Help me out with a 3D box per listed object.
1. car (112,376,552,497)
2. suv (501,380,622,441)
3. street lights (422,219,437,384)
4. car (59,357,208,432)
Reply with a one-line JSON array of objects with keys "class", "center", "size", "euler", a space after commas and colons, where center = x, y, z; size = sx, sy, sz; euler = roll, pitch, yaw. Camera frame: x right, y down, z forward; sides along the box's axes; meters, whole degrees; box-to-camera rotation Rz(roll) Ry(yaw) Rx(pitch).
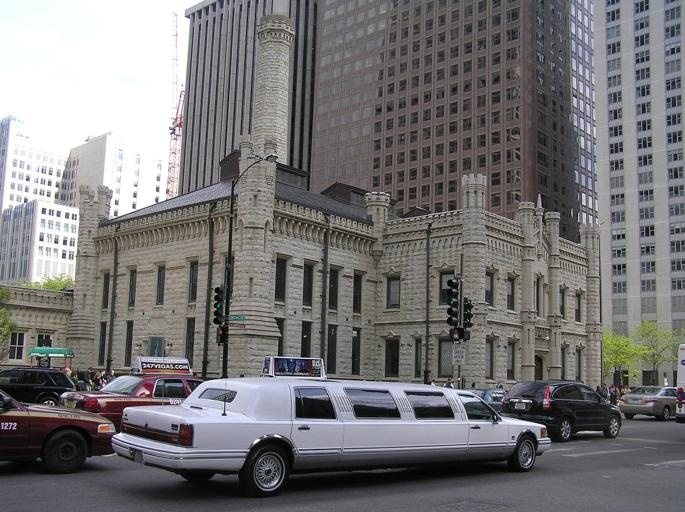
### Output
[{"class": "car", "center": [0.230, 5.294, 22.781], "size": [10.569, 1.914, 3.920], "euler": [4, -9, -31]}, {"class": "suv", "center": [8.875, 6.092, 31.870], "size": [6.151, 2.230, 2.687], "euler": [4, -8, -37]}, {"class": "street lights", "center": [5.031, 2.637, 47.420], "size": [0.725, 8.835, 0.803], "euler": [6, -11, -38]}, {"class": "car", "center": [-6.928, 4.626, 27.920], "size": [4.780, 1.789, 2.059], "euler": [2, -5, -38]}]
